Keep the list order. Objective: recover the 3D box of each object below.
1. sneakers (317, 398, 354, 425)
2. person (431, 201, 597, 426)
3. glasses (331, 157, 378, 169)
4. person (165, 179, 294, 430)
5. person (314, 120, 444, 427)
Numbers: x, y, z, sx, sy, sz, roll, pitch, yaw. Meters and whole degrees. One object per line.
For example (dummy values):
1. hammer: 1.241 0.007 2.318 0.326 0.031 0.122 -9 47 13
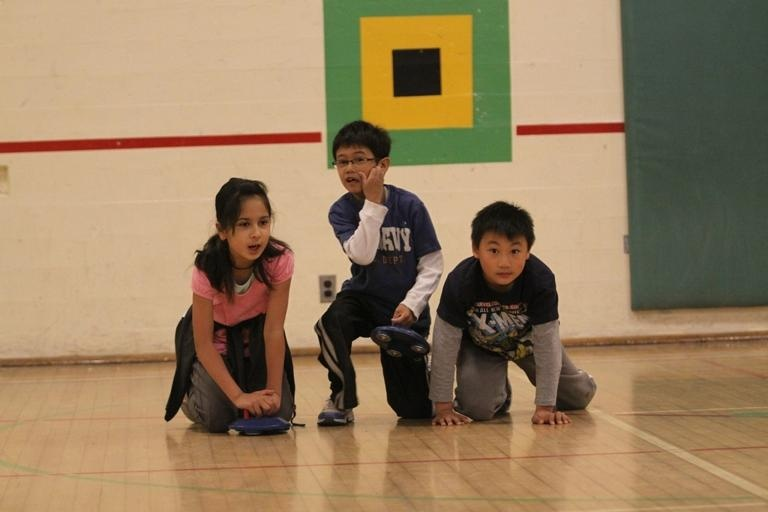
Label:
1. sneakers: -0.217 0.690 3.753 0.161 0.103 0.107 -1 7 -3
2. person: 0.593 0.275 3.862 0.898 0.968 0.775 -2 3 -33
3. glasses: -0.132 -0.421 3.826 0.203 0.040 0.087 0 7 6
4. person: -0.686 0.213 3.693 0.576 1.093 0.375 -1 8 -7
5. person: -0.025 0.065 3.813 0.556 1.339 0.518 1 8 8
